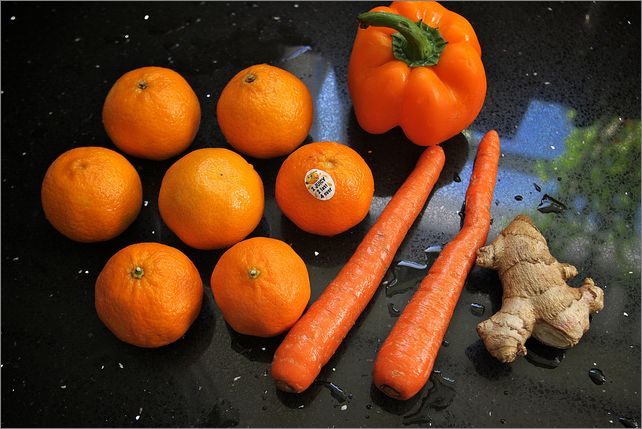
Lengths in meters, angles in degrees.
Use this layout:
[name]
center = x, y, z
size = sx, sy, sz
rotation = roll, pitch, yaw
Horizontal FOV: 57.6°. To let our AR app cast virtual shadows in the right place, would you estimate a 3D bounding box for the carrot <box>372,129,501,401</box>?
[carrot]
center = 0.332, 0.171, 1.669
size = 0.117, 0.142, 0.855
rotation = 17, 58, 19
